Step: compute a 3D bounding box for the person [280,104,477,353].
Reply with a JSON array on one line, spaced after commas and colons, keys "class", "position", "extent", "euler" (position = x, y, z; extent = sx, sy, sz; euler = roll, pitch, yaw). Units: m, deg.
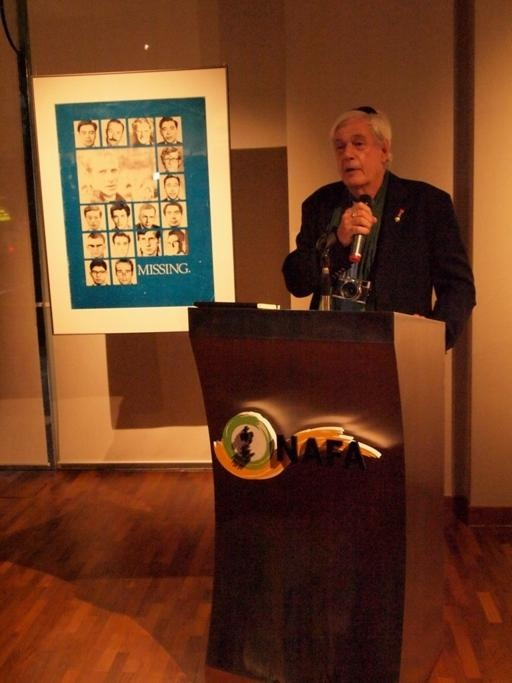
[{"class": "person", "position": [0.457, -0.444, 2.223], "extent": [0.600, 0.833, 0.888], "euler": [-4, 9, -16]}]

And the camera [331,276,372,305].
[{"class": "camera", "position": [0.302, -0.160, 1.895], "extent": [0.116, 0.089, 0.088], "euler": [14, -5, 35]}]
